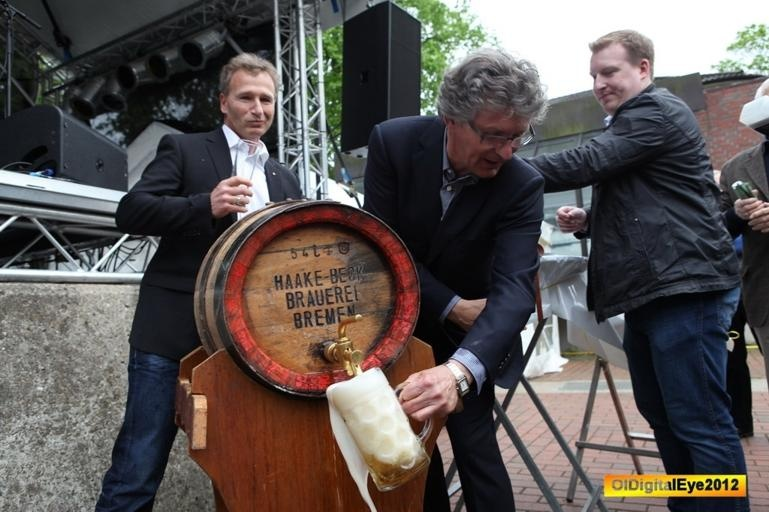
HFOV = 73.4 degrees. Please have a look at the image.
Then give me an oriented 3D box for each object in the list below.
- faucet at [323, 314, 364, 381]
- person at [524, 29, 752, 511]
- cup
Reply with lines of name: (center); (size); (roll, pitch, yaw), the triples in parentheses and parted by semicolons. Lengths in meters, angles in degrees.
faucet: (-0.165, 0.385, 2.223); (0.120, 0.265, 0.223); (-10, 5, -39)
person: (1.739, 0.046, 3.341); (1.342, 3.029, 0.719); (9, 13, 37)
cup: (0.018, 0.678, 2.243); (0.294, 0.511, 0.504); (-25, -4, -12)
